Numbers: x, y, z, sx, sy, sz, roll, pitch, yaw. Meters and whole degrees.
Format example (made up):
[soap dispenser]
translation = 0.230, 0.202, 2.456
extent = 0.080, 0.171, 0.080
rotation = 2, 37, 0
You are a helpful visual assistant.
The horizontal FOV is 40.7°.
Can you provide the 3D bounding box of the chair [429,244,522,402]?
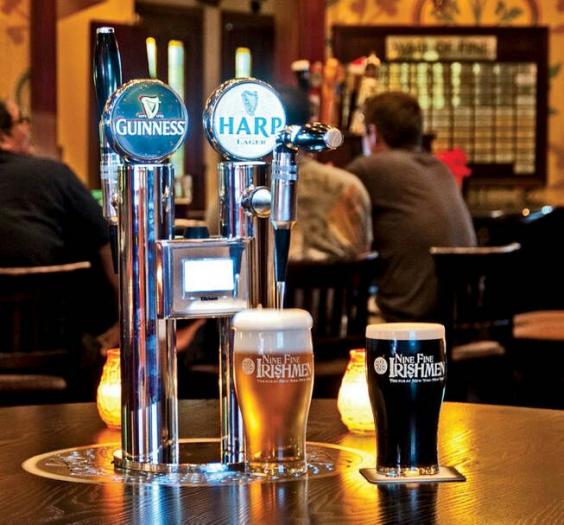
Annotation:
[chair]
translation = 0.492, 0.172, 1.921
extent = 0.204, 0.430, 0.538
rotation = 0, 0, 15
